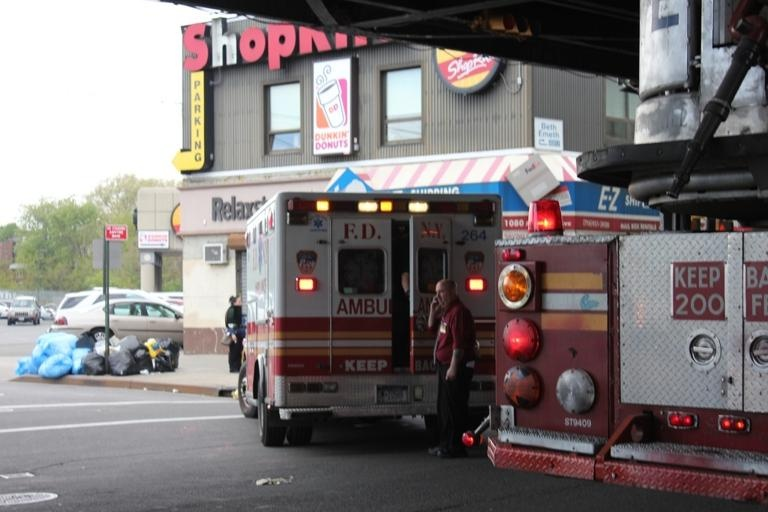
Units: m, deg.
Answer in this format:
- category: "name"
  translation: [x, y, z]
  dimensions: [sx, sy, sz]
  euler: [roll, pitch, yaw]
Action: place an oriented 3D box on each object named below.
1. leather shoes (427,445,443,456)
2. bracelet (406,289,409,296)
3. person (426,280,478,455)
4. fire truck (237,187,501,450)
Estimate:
- category: "leather shoes"
  translation: [0.669, 2.530, 13.388]
  dimensions: [0.084, 0.100, 0.227]
  euler: [4, 0, -11]
- category: "bracelet"
  translation: [0.338, 0.498, 14.157]
  dimensions: [0.016, 0.073, 0.073]
  euler: [1, 30, -16]
- category: "person"
  translation: [0.900, 1.435, 13.120]
  dimensions: [0.557, 2.277, 0.512]
  euler: [-1, 1, 4]
- category: "fire truck"
  translation: [-0.711, 0.749, 15.537]
  dimensions: [2.211, 2.462, 4.214]
  euler: [2, -2, -10]
